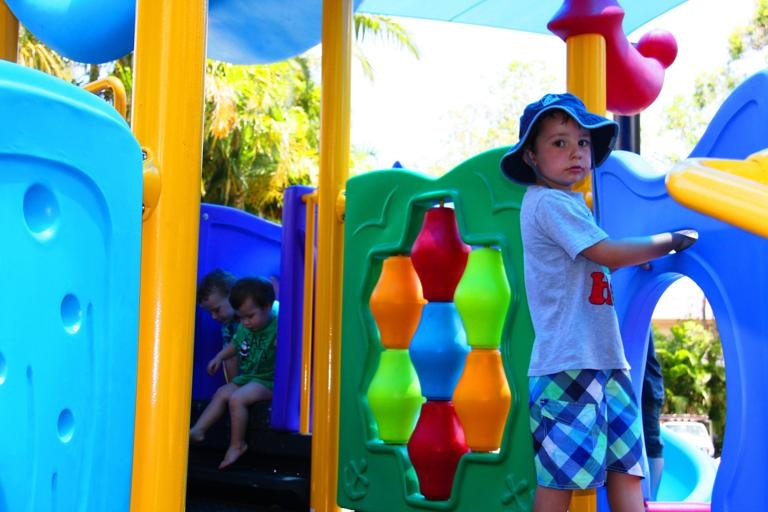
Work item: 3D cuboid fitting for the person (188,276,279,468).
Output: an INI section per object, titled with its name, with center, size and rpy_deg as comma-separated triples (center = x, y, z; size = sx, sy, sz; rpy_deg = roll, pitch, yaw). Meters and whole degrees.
[person]
center = -0.918, 0.734, 4.560
size = 0.453, 1.184, 0.567
rpy_deg = 13, -20, -33
